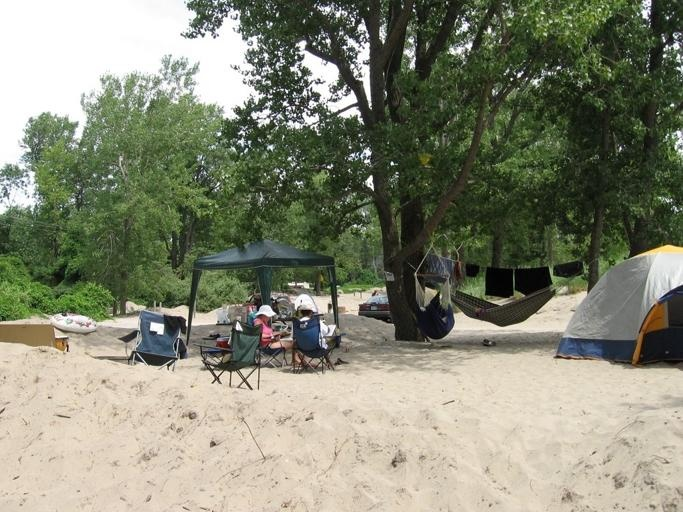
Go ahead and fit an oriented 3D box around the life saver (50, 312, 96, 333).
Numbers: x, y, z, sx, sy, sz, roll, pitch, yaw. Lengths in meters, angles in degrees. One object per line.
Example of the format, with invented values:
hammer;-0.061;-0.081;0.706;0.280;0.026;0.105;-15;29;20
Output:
life saver;-8.104;2.057;19.637;1.552;0.543;0.981;-2;-3;20

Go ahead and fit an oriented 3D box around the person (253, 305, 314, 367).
person;-1.367;1.587;13.289;1.399;1.717;0.812;-2;-2;-11

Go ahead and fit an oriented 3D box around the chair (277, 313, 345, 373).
chair;-0.516;1.742;12.904;0.817;1.195;0.807;-3;0;29

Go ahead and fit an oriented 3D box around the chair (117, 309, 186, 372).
chair;-3.635;1.648;12.845;1.069;1.184;1.133;0;-2;-16
